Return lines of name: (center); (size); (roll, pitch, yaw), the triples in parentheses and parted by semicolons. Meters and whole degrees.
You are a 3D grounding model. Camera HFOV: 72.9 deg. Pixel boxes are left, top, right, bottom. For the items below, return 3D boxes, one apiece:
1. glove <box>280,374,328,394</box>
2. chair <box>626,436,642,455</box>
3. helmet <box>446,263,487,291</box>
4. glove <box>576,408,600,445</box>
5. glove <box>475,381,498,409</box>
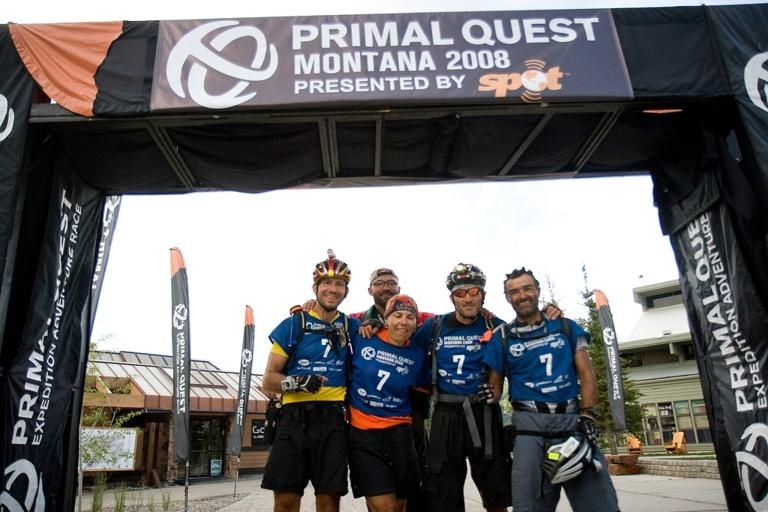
glove: (-0.936, 1.446, 5.830); (0.394, 0.235, 0.161); (4, 23, 3)
chair: (12.089, 9.088, 25.128); (0.632, 0.852, 1.446); (-10, -20, 21)
helmet: (0.987, 0.261, 6.119); (0.292, 0.294, 0.320); (2, -42, 2)
glove: (2.285, 1.957, 5.935); (0.288, 0.364, 0.123); (9, -21, -29)
glove: (1.252, 1.667, 6.270); (0.267, 0.278, 0.316); (-10, -20, 20)
